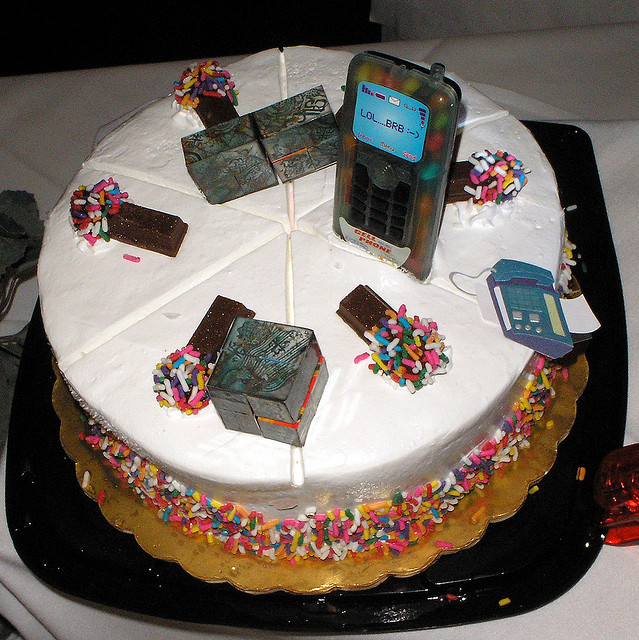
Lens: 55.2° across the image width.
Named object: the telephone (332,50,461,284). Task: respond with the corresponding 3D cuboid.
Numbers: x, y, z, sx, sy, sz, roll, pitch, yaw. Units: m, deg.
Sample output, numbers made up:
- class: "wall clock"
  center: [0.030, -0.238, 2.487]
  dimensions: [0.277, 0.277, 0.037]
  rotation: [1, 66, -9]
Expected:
- class: "telephone"
  center: [0.232, -0.438, 1.855]
  dimensions: [0.396, 0.672, 0.277]
  rotation: [19, 55, 11]
